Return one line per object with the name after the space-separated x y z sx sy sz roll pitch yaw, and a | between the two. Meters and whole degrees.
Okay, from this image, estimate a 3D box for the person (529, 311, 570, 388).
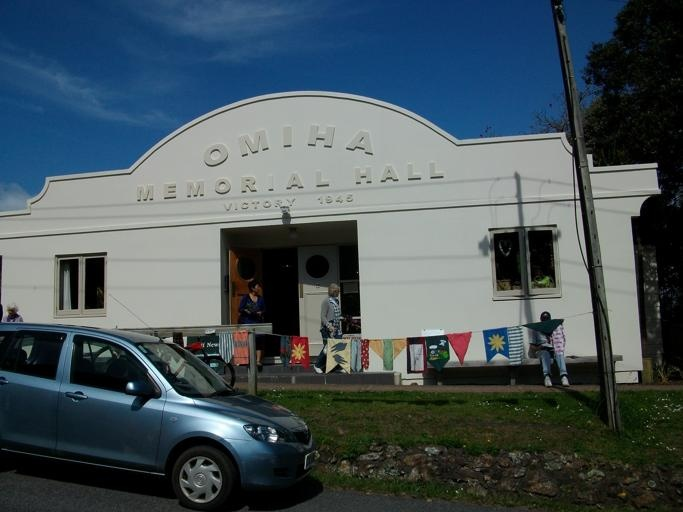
4.493 1.985 13.103 0.677 1.635 0.865 -6 -12 21 | person

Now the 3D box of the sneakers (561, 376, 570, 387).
4.707 2.629 12.734 0.113 0.152 0.363 0 0 12 | sneakers
